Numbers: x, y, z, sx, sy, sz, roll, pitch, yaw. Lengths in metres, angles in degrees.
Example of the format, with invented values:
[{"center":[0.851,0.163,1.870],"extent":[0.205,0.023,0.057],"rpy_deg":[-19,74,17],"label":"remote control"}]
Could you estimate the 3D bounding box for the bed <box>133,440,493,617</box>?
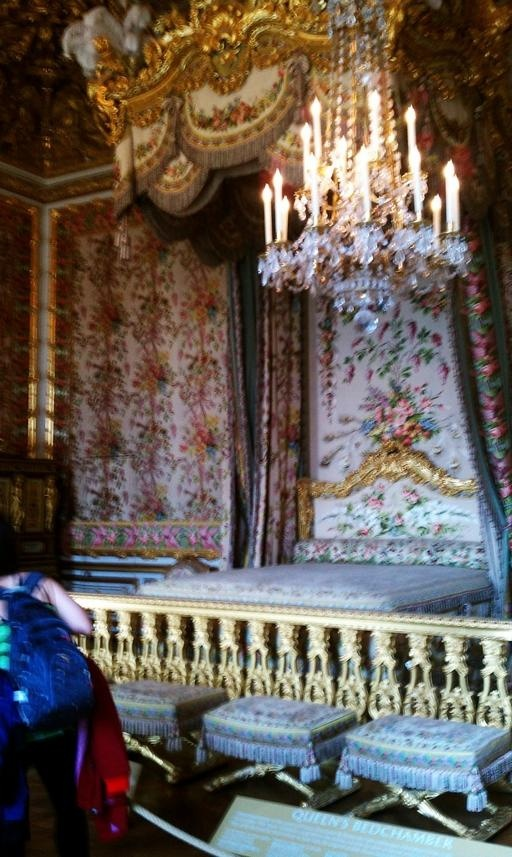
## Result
[{"center":[0.512,0.605,4.087],"extent":[1.099,0.802,1.109],"rpy_deg":[-4,-8,35],"label":"bed"}]
